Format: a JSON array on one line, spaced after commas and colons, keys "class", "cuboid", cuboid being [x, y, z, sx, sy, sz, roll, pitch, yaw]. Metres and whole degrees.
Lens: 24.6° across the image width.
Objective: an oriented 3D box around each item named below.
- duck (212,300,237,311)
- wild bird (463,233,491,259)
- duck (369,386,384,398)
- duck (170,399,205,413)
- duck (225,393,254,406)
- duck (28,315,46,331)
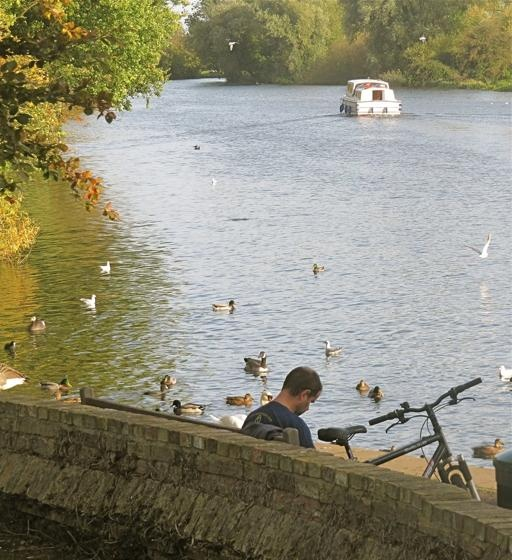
[{"class": "duck", "cuboid": [-0.693, 0.570, 25.985, 0.394, 0.244, 0.224, 2, 9, -10]}, {"class": "wild bird", "cuboid": [6.516, -0.973, 34.763, 0.556, 0.336, 0.757, -21, -7, 4]}, {"class": "duck", "cuboid": [2.068, 1.947, 20.308, 0.156, 0.160, 0.245, 1, 6, -2]}, {"class": "duck", "cuboid": [-1.116, 2.086, 19.316, 0.476, 0.262, 0.222, 3, -1, -1]}, {"class": "duck", "cuboid": [-0.270, 2.046, 19.996, 0.368, 0.219, 0.190, 2, 16, 0]}, {"class": "duck", "cuboid": [-4.326, 0.901, 23.323, 0.227, 0.248, 0.363, 2, 3, -2]}]
